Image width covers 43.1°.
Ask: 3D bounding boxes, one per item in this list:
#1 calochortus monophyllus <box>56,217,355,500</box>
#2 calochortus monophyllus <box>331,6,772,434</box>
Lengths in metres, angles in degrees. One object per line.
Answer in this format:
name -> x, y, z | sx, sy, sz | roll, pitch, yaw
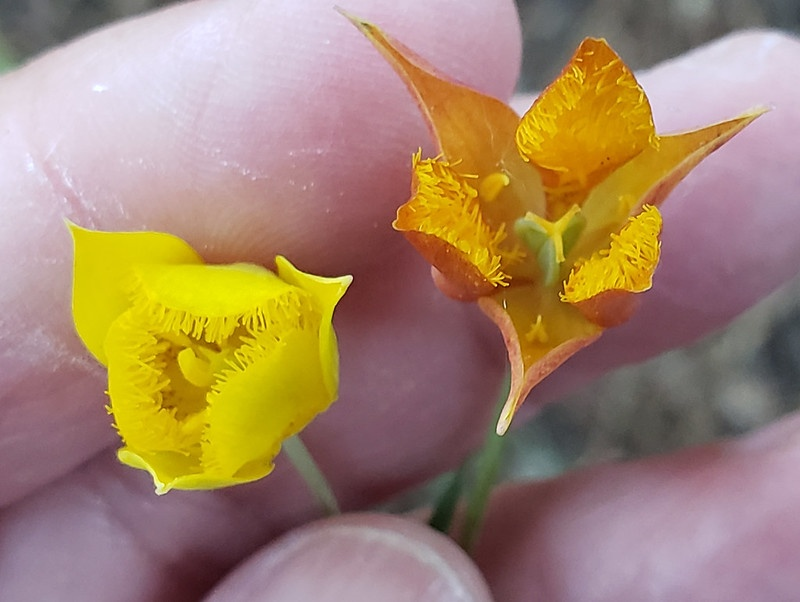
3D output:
calochortus monophyllus -> -0.101, 0.028, 0.729 | 0.174, 0.230, 0.102 | 15, 96, 18
calochortus monophyllus -> 0.091, -0.030, 0.783 | 0.278, 0.167, 0.282 | -35, 79, 0
